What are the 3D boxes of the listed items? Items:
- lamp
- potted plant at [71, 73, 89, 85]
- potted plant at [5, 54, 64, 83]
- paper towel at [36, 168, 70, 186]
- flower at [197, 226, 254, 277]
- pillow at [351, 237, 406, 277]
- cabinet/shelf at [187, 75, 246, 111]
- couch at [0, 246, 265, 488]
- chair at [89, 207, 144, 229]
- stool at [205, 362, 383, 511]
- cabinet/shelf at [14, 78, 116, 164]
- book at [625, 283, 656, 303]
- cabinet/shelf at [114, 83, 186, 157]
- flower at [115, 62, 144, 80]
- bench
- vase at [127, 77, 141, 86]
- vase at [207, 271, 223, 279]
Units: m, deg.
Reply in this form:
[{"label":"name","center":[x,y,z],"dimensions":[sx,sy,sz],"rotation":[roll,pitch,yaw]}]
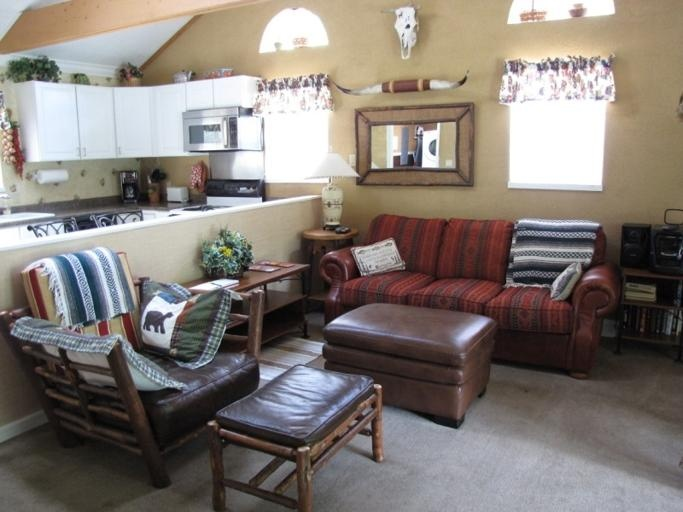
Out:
[{"label":"lamp","center":[-0.092,-0.659,5.492],"dimensions":[0.796,0.757,0.776],"rotation":[0,2,13]},{"label":"potted plant","center":[-3.111,-2.103,6.327],"dimensions":[0.187,0.143,0.167],"rotation":[8,9,39]},{"label":"potted plant","center":[-3.390,-1.997,5.840],"dimensions":[0.385,0.219,0.375],"rotation":[-4,7,-43]},{"label":"paper towel","center":[-3.398,-0.919,6.226],"dimensions":[0.208,0.188,0.383],"rotation":[9,16,44]},{"label":"flower","center":[-0.946,-0.037,4.374],"dimensions":[0.381,0.283,0.404],"rotation":[-1,9,-12]},{"label":"pillow","center":[0.355,0.024,4.906],"dimensions":[0.405,0.318,0.105],"rotation":[-8,-16,-28]},{"label":"cabinet/shelf","center":[-1.403,-1.847,6.163],"dimensions":[0.875,0.350,0.263],"rotation":[2,4,19]},{"label":"couch","center":[-1.264,0.575,3.454],"dimensions":[1.447,1.191,1.161],"rotation":[5,11,28]},{"label":"chair","center":[-2.491,-0.422,5.863],"dimensions":[0.355,0.150,0.888],"rotation":[-2,11,3]},{"label":"stool","center":[-0.227,0.980,2.867],"dimensions":[0.595,0.546,0.838],"rotation":[5,14,33]},{"label":"cabinet/shelf","center":[-3.248,-1.565,6.269],"dimensions":[0.414,0.872,1.045],"rotation":[10,16,25]},{"label":"book","center":[2.433,0.300,4.298],"dimensions":[0.219,0.102,0.161],"rotation":[3,9,26]},{"label":"cabinet/shelf","center":[-2.334,-1.669,6.486],"dimensions":[0.951,0.772,0.325],"rotation":[1,6,13]},{"label":"flower","center":[-2.683,-2.337,6.717],"dimensions":[0.311,0.227,0.257],"rotation":[-7,13,-19]},{"label":"bench","center":[0.505,0.722,3.800],"dimensions":[1.090,0.540,0.802],"rotation":[5,11,36]},{"label":"vase","center":[-2.618,-2.175,6.711],"dimensions":[0.159,0.113,0.152],"rotation":[2,18,0]},{"label":"vase","center":[-1.036,0.159,4.345],"dimensions":[0.086,0.059,0.079],"rotation":[3,4,0]}]
